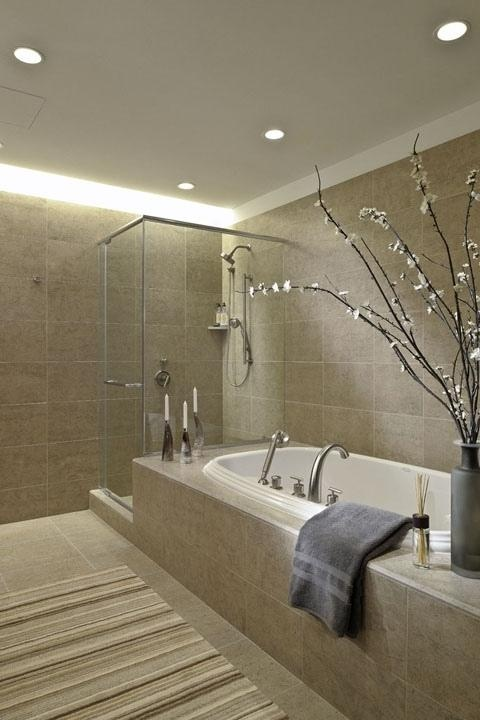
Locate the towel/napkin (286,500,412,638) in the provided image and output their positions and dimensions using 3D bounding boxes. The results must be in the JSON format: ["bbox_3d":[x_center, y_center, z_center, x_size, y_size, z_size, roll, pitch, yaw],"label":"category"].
[{"bbox_3d":[0.346,0.629,1.635,0.132,0.378,0.341,28,-24,-23],"label":"towel/napkin"}]

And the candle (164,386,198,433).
[{"bbox_3d":[-0.374,0.318,3.307,0.197,0.276,0.307,-1,-1,3],"label":"candle"}]
